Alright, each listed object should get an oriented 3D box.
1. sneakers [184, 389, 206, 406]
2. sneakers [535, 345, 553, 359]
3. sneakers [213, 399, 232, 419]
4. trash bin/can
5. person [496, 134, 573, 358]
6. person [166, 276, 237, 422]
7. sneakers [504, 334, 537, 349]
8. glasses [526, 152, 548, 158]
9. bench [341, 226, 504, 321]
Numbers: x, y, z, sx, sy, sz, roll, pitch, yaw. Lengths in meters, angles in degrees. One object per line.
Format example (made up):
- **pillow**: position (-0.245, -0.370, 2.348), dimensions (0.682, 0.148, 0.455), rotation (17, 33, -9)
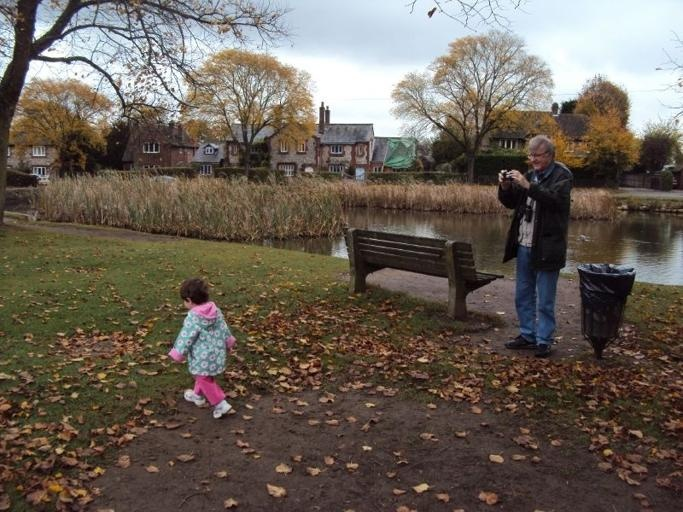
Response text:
- **sneakers**: position (-1.497, 1.437, 5.606), dimensions (0.238, 0.106, 0.113), rotation (25, 35, 25)
- **sneakers**: position (2.390, 1.137, 6.493), dimensions (0.255, 0.103, 0.107), rotation (-3, 8, -37)
- **sneakers**: position (-1.151, 1.494, 5.345), dimensions (0.218, 0.155, 0.104), rotation (-36, 1, 43)
- **trash bin/can**: position (3.016, 0.646, 6.375), dimensions (0.573, 1.080, 0.478), rotation (6, 16, 24)
- **person**: position (2.286, -0.124, 6.582), dimensions (0.802, 2.602, 0.916), rotation (1, 14, 3)
- **person**: position (-1.371, 0.907, 5.428), dimensions (0.680, 1.311, 0.637), rotation (-3, 9, -27)
- **sneakers**: position (2.225, 1.058, 6.803), dimensions (0.341, 0.157, 0.153), rotation (6, 2, 14)
- **glasses**: position (2.262, -1.177, 6.335), dimensions (0.203, 0.074, 0.111), rotation (11, 18, 35)
- **bench**: position (1.115, 0.173, 8.365), dimensions (0.960, 1.067, 2.398), rotation (-8, 12, -41)
